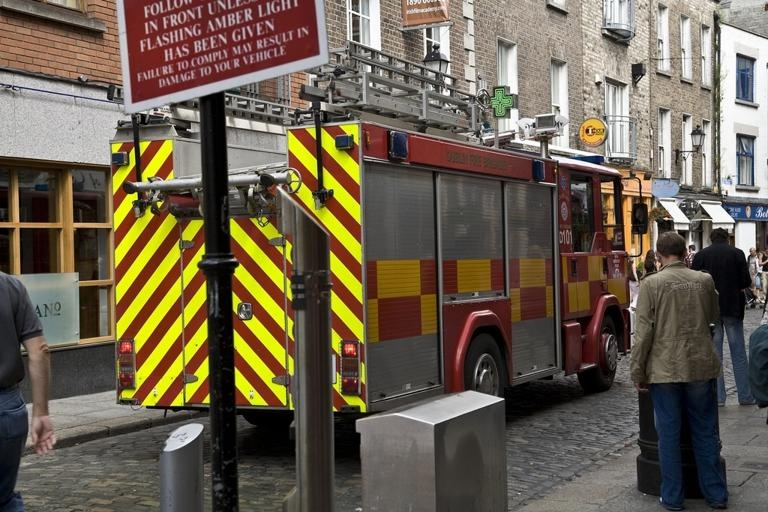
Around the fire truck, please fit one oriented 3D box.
[{"bbox_3d":[0.291,-0.369,14.246,4.050,3.949,8.147,1,3,36],"label":"fire truck"}]

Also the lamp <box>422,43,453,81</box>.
[{"bbox_3d":[1.042,-3.865,20.123,0.443,0.891,0.426,-1,0,23],"label":"lamp"}]
